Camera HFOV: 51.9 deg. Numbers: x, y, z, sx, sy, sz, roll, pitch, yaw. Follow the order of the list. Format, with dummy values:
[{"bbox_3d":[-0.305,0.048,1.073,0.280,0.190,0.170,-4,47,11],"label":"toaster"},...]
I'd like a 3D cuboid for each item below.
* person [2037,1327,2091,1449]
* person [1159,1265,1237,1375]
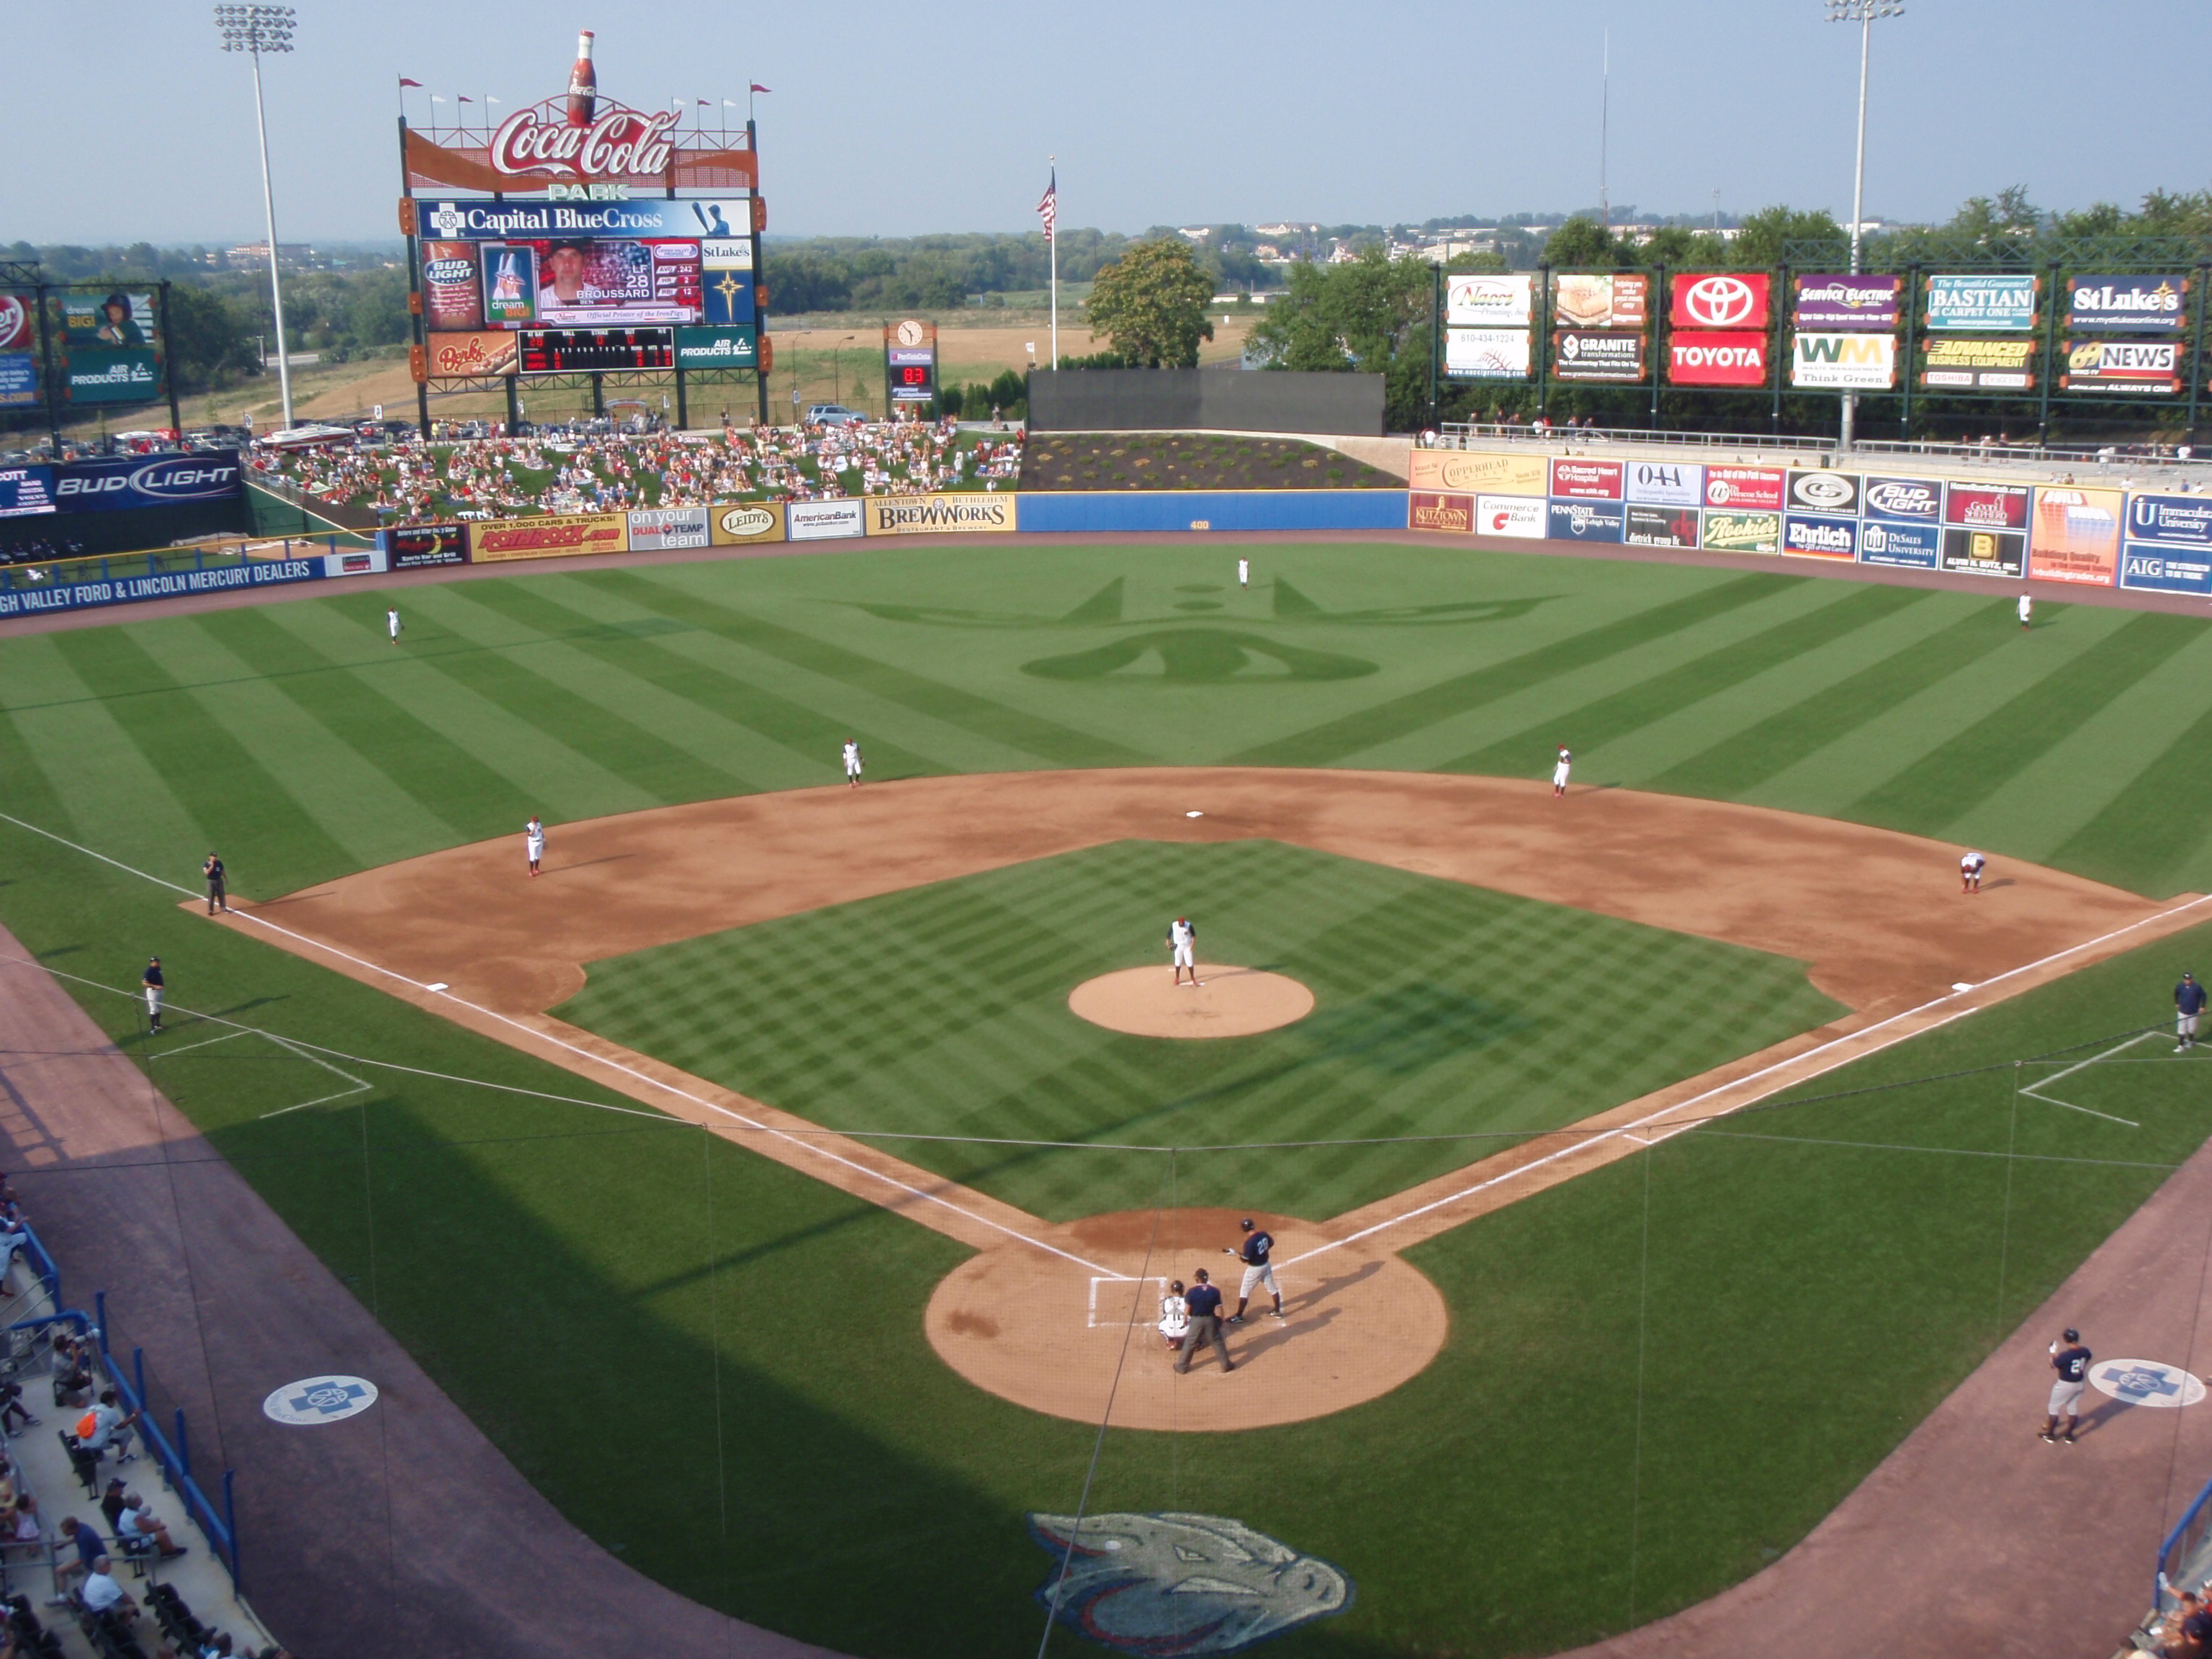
[{"bbox_3d":[14.255,8.042,33.683,0.491,1.707,1.477,6,18,24],"label":"person"},{"bbox_3d":[1.476,7.609,35.609,1.061,1.303,1.543,-2,16,2],"label":"person"}]
